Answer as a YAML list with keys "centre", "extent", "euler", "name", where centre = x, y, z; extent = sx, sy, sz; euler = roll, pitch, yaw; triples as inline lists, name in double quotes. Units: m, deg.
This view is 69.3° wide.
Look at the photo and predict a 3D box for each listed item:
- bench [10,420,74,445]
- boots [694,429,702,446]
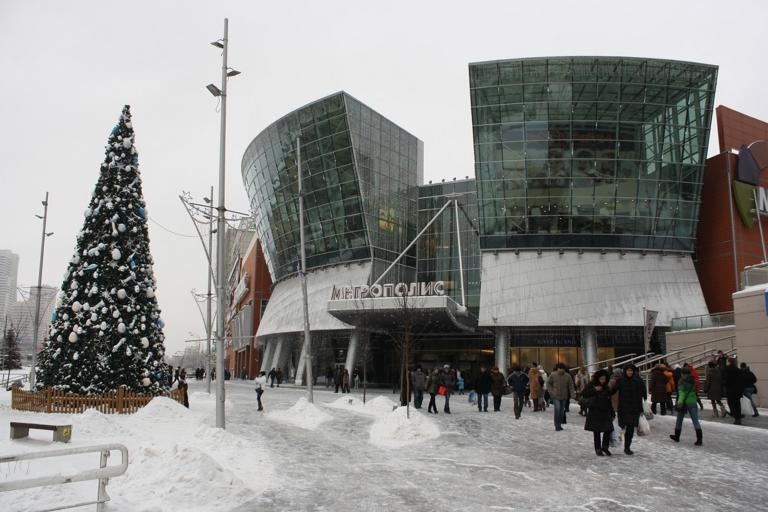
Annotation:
- centre: [-9.804, 5.048, 15.918]
  extent: [1.659, 0.610, 0.944]
  euler: [-8, -14, 26]
  name: "bench"
- centre: [9.814, 5.652, 17.377]
  extent: [0.202, 0.499, 0.282]
  euler: [-6, -12, 21]
  name: "boots"
